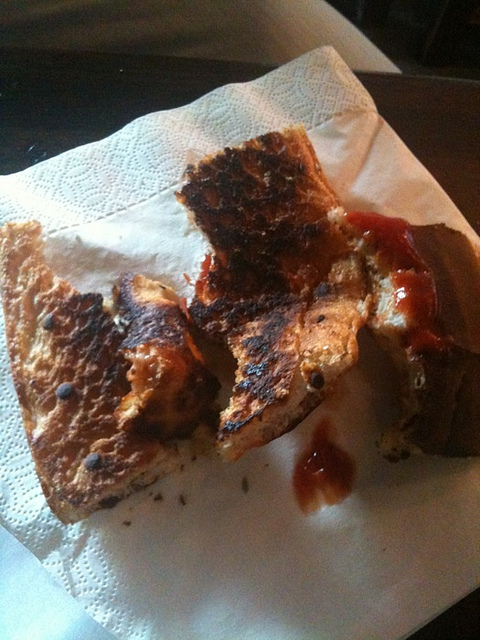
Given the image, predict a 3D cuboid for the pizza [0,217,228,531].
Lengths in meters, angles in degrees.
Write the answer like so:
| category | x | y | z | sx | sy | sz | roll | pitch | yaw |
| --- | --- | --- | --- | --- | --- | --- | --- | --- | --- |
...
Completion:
| category | x | y | z | sx | sy | sz | roll | pitch | yaw |
| --- | --- | --- | --- | --- | --- | --- | --- | --- | --- |
| pizza | -0.284 | 0.129 | 1.404 | 0.486 | 0.164 | 0.527 | -16 | 77 | -7 |
